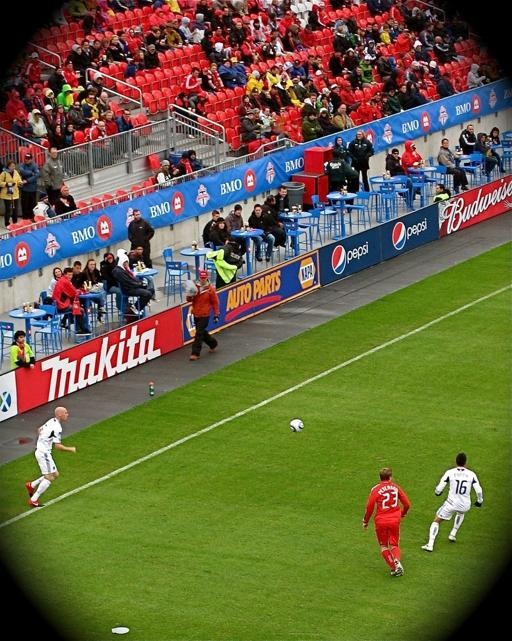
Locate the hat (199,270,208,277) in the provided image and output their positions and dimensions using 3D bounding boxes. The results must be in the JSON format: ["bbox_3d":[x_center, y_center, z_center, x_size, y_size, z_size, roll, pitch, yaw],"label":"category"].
[{"bbox_3d":[-1.036,-0.921,27.105,0.163,0.145,0.267,0,11,-3],"label":"hat"}]

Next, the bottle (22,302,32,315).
[{"bbox_3d":[-4.628,-0.249,27.640,0.185,0.178,0.315,-3,3,0],"label":"bottle"}]

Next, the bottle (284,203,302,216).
[{"bbox_3d":[0.930,-2.722,33.815,0.431,0.141,0.435,-1,11,0],"label":"bottle"}]

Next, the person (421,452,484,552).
[{"bbox_3d":[2.741,2.543,19.208,0.884,1.358,0.660,-1,18,-19],"label":"person"}]

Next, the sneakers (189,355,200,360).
[{"bbox_3d":[-1.221,0.733,27.562,0.094,0.118,0.275,0,-3,9],"label":"sneakers"}]

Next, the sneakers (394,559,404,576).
[{"bbox_3d":[1.924,3.296,18.239,0.127,0.072,0.205,-5,51,5],"label":"sneakers"}]

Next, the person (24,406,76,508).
[{"bbox_3d":[-3.292,1.933,21.511,0.808,1.474,2.101,-8,13,-9],"label":"person"}]

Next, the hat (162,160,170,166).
[{"bbox_3d":[-2.250,-3.975,34.143,0.130,0.141,0.175,0,1,-28],"label":"hat"}]

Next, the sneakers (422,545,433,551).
[{"bbox_3d":[2.408,3.173,19.077,0.061,0.076,0.166,-6,13,-27],"label":"sneakers"}]

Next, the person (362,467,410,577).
[{"bbox_3d":[1.765,2.724,18.233,0.546,1.462,0.652,-1,14,20],"label":"person"}]

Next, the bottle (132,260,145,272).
[{"bbox_3d":[-2.503,-1.124,29.545,0.280,0.131,0.274,4,33,-2],"label":"bottle"}]

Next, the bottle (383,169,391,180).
[{"bbox_3d":[3.586,-3.999,37.132,0.241,0.193,0.321,0,11,5],"label":"bottle"}]

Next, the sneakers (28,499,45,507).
[{"bbox_3d":[-3.364,2.788,20.813,0.201,0.083,0.079,4,20,-6],"label":"sneakers"}]
